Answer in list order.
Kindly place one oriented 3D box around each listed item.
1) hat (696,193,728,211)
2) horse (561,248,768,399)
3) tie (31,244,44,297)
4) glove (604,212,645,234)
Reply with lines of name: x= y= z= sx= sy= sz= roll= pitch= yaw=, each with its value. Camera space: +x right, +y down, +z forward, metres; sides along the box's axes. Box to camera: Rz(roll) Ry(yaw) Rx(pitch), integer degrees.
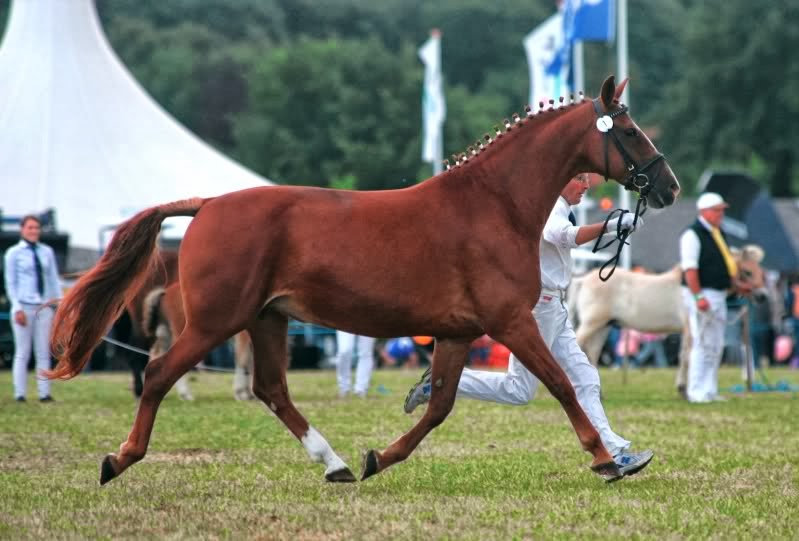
hat: x=6.160 y=-1.348 z=35.951 sx=0.623 sy=0.324 sz=0.435 roll=-4 pitch=4 yaw=12
horse: x=5.523 y=1.001 z=38.734 sx=4.473 sy=3.020 sz=1.068 roll=0 pitch=11 yaw=20
tie: x=-7.276 y=0.061 z=36.643 sx=0.173 sy=1.238 sz=0.148 roll=-4 pitch=-2 yaw=-1
glove: x=3.999 y=-0.828 z=32.544 sx=0.521 sy=0.222 sz=0.381 roll=-17 pitch=9 yaw=9
